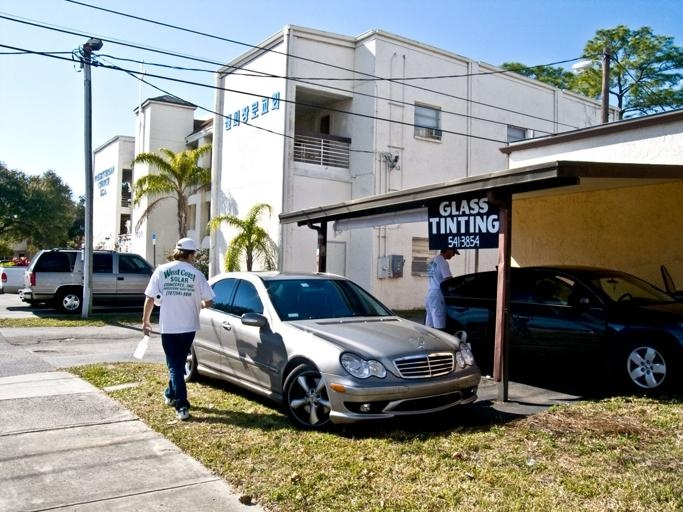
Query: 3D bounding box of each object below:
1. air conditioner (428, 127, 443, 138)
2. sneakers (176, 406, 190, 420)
[{"bbox_3d":[3.524,-4.533,24.996,0.693,0.428,0.145,-9,13,-34],"label":"air conditioner"},{"bbox_3d":[-2.031,2.041,8.599,0.149,0.142,0.132,-4,8,-2],"label":"sneakers"}]
